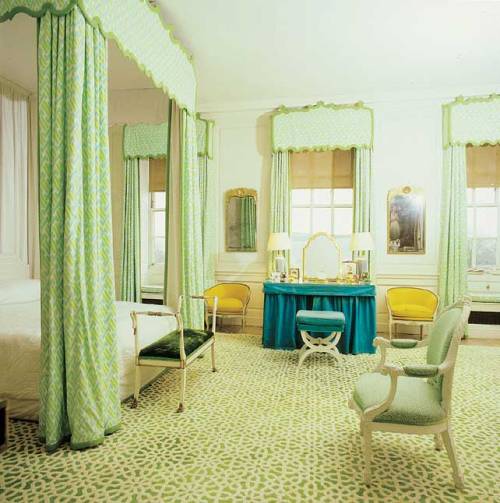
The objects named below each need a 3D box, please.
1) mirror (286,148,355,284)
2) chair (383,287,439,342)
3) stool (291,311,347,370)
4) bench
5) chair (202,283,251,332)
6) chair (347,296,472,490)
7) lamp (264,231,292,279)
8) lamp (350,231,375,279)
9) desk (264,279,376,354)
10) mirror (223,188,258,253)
[{"bbox_3d":[1.092,-0.647,6.908,0.889,1.761,0.051,0,28,6],"label":"mirror"},{"bbox_3d":[2.075,0.818,5.906,0.647,0.742,0.620,2,-3,8],"label":"chair"},{"bbox_3d":[0.765,0.941,4.990,0.488,0.596,0.525,1,6,7],"label":"stool"},{"bbox_3d":[-0.641,0.886,4.274,0.431,0.823,1.248,0,0,10],"label":"bench"},{"bbox_3d":[-0.290,0.777,6.426,0.651,0.695,0.581,0,2,10],"label":"chair"},{"bbox_3d":[1.047,0.841,3.075,0.713,1.088,0.846,2,8,13],"label":"chair"},{"bbox_3d":[0.393,0.078,6.090,0.295,0.658,0.884,1,8,3],"label":"lamp"},{"bbox_3d":[1.455,0.066,5.906,0.281,0.640,0.884,2,8,15],"label":"lamp"},{"bbox_3d":[0.830,0.783,5.552,1.259,0.844,0.687,2,-1,11],"label":"desk"},{"bbox_3d":[-0.129,-0.434,6.771,0.503,0.995,0.028,1,-14,-1],"label":"mirror"}]
